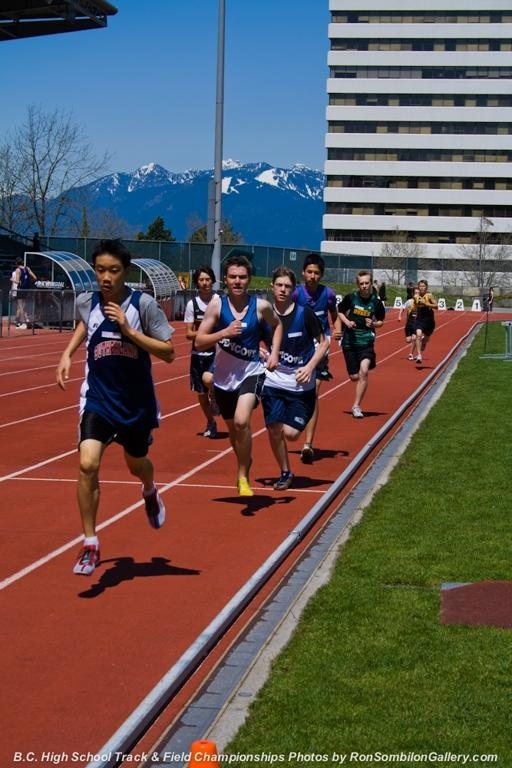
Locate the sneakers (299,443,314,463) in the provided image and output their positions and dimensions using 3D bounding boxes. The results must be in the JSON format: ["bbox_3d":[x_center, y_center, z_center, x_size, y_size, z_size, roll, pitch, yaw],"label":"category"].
[{"bbox_3d":[0.595,0.799,7.695,0.103,0.134,0.292,1,-32,3],"label":"sneakers"}]

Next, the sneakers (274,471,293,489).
[{"bbox_3d":[0.283,0.945,6.564,0.107,0.108,0.255,-3,3,20],"label":"sneakers"}]

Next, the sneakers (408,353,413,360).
[{"bbox_3d":[5.160,-0.897,22.049,0.131,0.162,0.371,-1,1,5],"label":"sneakers"}]

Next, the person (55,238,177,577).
[{"bbox_3d":[-0.801,0.131,4.010,0.611,1.943,0.804,-1,9,-10],"label":"person"}]

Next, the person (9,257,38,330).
[{"bbox_3d":[-9.604,-3.789,27.579,0.976,2.803,0.956,2,6,-26],"label":"person"}]

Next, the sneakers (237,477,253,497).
[{"bbox_3d":[-0.093,0.917,6.000,0.089,0.112,0.264,6,4,-15],"label":"sneakers"}]

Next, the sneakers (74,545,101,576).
[{"bbox_3d":[-0.958,0.995,3.753,0.088,0.114,0.250,-1,-1,4],"label":"sneakers"}]

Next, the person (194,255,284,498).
[{"bbox_3d":[-0.141,0.035,5.853,0.731,2.261,0.994,0,9,1],"label":"person"}]
